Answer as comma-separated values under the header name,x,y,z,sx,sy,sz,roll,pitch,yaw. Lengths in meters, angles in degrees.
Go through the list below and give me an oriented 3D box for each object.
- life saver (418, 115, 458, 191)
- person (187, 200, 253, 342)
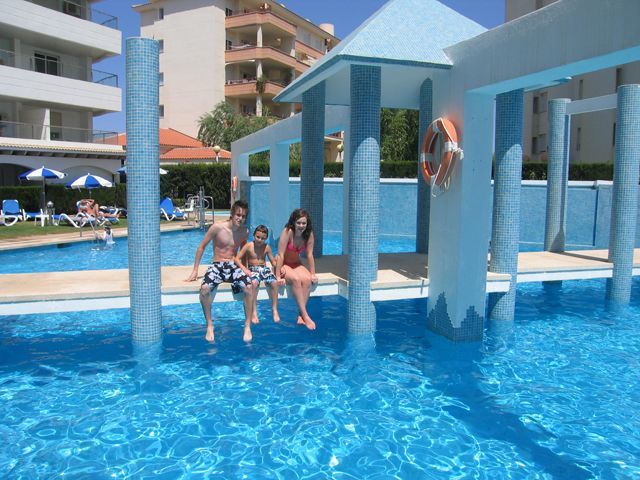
name,x,y,z,sx,sy,sz,roll,pitch,yaw
life saver,1.596,-1.128,6.868,0.326,0.992,0.824,-1,12,-5
person,-1.345,0.448,7.036,0.749,1.968,0.680,-3,12,-14
